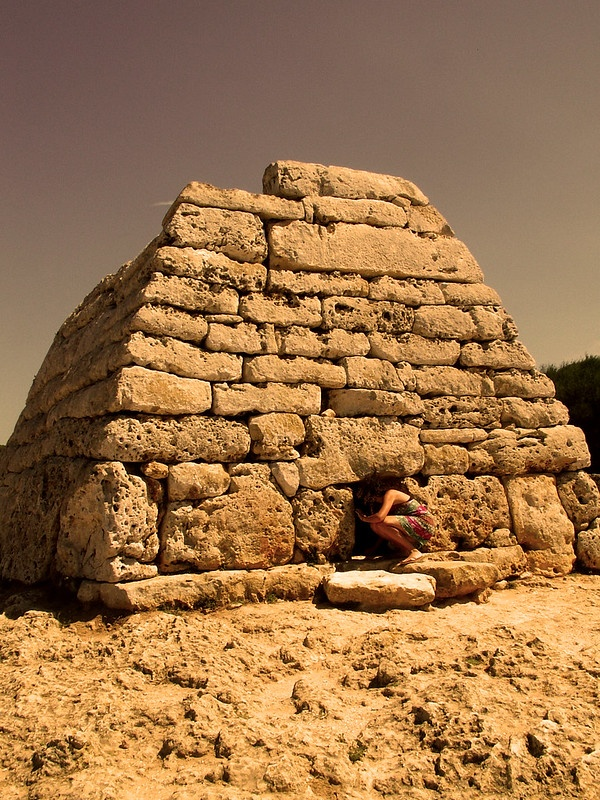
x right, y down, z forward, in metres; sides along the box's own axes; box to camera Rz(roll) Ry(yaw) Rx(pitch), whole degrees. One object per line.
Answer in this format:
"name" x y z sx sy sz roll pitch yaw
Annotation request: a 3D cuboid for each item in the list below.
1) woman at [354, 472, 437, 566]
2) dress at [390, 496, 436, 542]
"woman" 0.630 0.791 7.375 0.676 0.659 0.350 1 -13 -2
"dress" 0.737 0.775 7.200 0.120 0.274 0.243 22 -56 -36
